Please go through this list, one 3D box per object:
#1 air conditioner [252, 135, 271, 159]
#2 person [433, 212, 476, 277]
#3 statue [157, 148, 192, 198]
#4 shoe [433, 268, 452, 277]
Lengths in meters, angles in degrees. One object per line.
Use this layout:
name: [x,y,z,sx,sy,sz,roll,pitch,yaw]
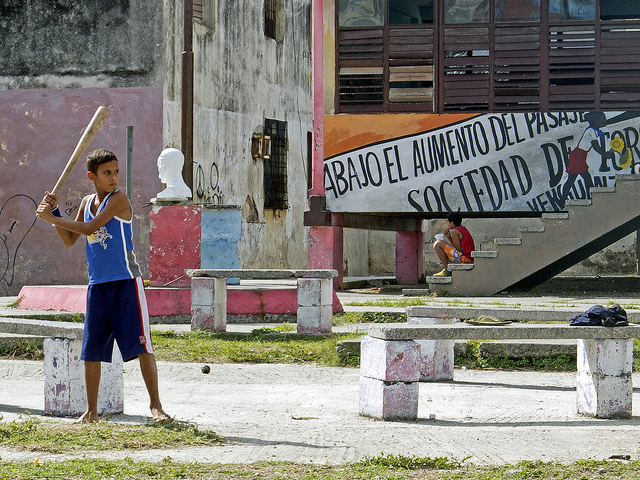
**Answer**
air conditioner: [-1.325,-2.059,32.832,0.158,0.511,0.783,0,2,21]
person: [2.476,0.103,27.159,0.739,1.180,0.646,0,2,4]
statue: [-2.588,-1.137,25.520,0.566,0.845,0.548,-1,2,-6]
shoe: [2.250,0.629,27.233,0.381,0.164,0.128,2,-4,-7]
